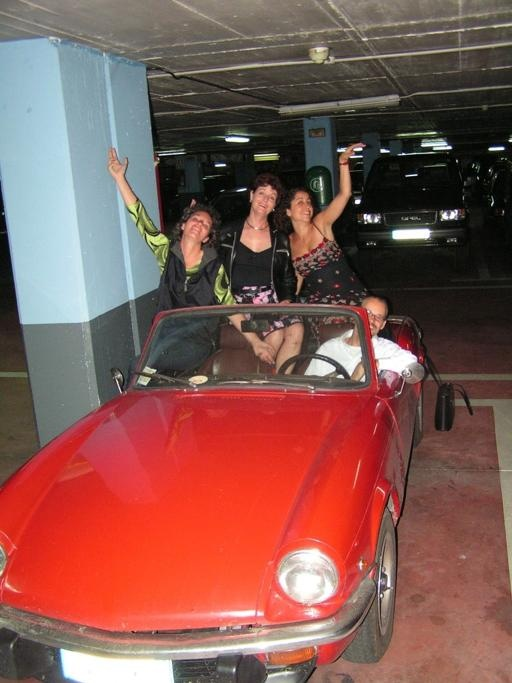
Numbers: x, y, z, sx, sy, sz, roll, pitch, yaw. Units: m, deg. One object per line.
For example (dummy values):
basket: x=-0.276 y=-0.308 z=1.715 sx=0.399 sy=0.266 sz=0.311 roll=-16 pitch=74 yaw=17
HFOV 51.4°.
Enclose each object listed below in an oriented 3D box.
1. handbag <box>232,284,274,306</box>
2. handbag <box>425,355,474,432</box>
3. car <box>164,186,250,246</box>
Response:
handbag: x=-0.007 y=-0.330 z=4.248 sx=0.340 sy=0.206 sz=0.196 roll=4 pitch=40 yaw=-9
handbag: x=1.629 y=0.432 z=4.592 sx=0.468 sy=0.602 sz=0.474 roll=-9 pitch=-3 yaw=24
car: x=-2.010 y=-5.127 z=20.281 sx=2.156 sy=1.908 sz=3.949 roll=32 pitch=30 yaw=22
